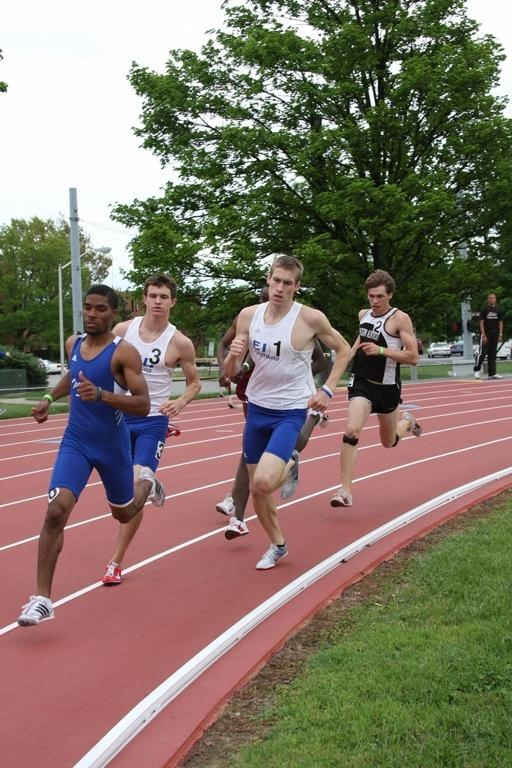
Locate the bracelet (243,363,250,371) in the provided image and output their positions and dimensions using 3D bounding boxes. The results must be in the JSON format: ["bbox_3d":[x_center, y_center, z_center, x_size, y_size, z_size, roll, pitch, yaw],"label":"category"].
[{"bbox_3d":[-0.069,-0.125,4.691,0.051,0.088,0.053,3,-1,-10],"label":"bracelet"}]

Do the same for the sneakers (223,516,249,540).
[{"bbox_3d":[-0.153,1.159,4.992,0.112,0.148,0.318,-34,-18,12],"label":"sneakers"}]

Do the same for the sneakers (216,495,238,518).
[{"bbox_3d":[-0.271,1.133,5.748,0.143,0.177,0.419,29,-7,2],"label":"sneakers"}]

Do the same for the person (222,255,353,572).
[{"bbox_3d":[0.209,0.226,4.369,0.853,2.051,0.883,-4,1,18],"label":"person"}]

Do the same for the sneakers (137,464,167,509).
[{"bbox_3d":[-0.737,0.750,4.378,0.126,0.358,0.155,-12,31,12],"label":"sneakers"}]

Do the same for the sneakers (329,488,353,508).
[{"bbox_3d":[0.789,1.087,5.746,0.134,0.163,0.368,-15,-27,22],"label":"sneakers"}]

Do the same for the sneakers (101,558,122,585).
[{"bbox_3d":[-0.943,1.270,4.103,0.075,0.089,0.201,-1,-9,3],"label":"sneakers"}]

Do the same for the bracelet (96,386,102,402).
[{"bbox_3d":[-0.800,0.054,3.176,0.021,0.053,0.046,4,-1,-26],"label":"bracelet"}]

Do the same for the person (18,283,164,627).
[{"bbox_3d":[-0.976,0.396,3.598,0.752,1.926,1.013,-4,1,-10],"label":"person"}]

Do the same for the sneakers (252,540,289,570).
[{"bbox_3d":[0.127,1.258,4.536,0.101,0.117,0.305,-21,11,47],"label":"sneakers"}]
